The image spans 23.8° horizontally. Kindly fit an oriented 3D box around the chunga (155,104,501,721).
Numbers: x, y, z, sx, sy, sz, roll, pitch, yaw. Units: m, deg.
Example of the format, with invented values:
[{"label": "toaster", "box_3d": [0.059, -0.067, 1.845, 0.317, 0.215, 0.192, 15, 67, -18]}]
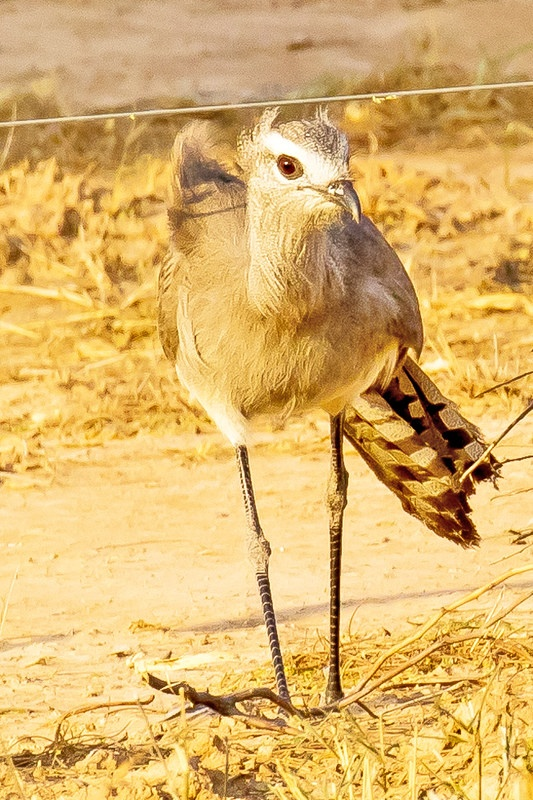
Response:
[{"label": "chunga", "box_3d": [0.185, -0.106, 4.077, 0.846, 1.624, 0.925, -15, 25, -18]}]
